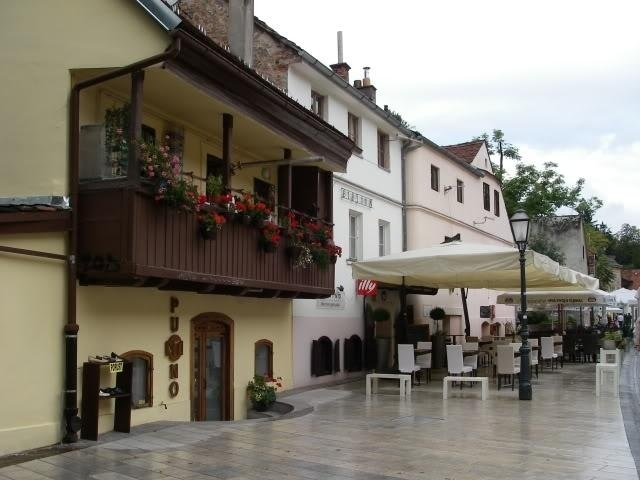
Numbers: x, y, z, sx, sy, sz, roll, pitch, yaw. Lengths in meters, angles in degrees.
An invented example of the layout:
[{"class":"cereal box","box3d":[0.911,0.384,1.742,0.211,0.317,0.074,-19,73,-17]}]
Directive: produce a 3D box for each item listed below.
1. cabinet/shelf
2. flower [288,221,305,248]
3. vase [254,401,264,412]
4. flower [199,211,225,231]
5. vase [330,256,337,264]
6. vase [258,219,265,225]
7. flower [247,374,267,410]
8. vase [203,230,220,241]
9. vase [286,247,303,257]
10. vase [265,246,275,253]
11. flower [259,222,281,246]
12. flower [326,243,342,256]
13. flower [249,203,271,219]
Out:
[{"class":"cabinet/shelf","box3d":[-3.742,2.791,12.192,0.426,1.648,1.089,-5,-9,25]},{"class":"flower","box3d":[-0.591,-0.127,16.280,0.469,0.711,0.472,2,-12,-5]},{"class":"vase","box3d":[-1.409,3.786,16.030,0.299,0.248,0.169,-10,-11,37]},{"class":"flower","box3d":[-2.071,-0.349,13.378,0.309,0.371,0.508,-9,-11,34]},{"class":"vase","box3d":[0.323,0.500,17.791,0.163,0.125,0.166,1,-7,-13]},{"class":"vase","box3d":[-1.262,-0.381,14.897,0.072,0.133,0.131,12,14,40]},{"class":"flower","box3d":[-1.458,3.537,16.207,0.346,0.798,0.628,5,-12,-45]},{"class":"vase","box3d":[-2.118,-0.101,13.570,0.165,0.201,0.614,-6,-9,14]},{"class":"vase","box3d":[-0.625,0.265,16.140,0.238,0.167,0.245,0,-2,0]},{"class":"vase","box3d":[-1.092,0.197,15.127,0.150,0.114,0.153,1,-5,-8]},{"class":"flower","box3d":[-1.080,-0.108,15.159,0.519,0.517,0.253,3,-11,-36]},{"class":"flower","box3d":[0.342,0.215,17.552,0.305,0.276,0.324,-1,-14,16]},{"class":"flower","box3d":[-1.362,-0.637,14.892,0.335,0.300,0.344,9,9,42]}]
